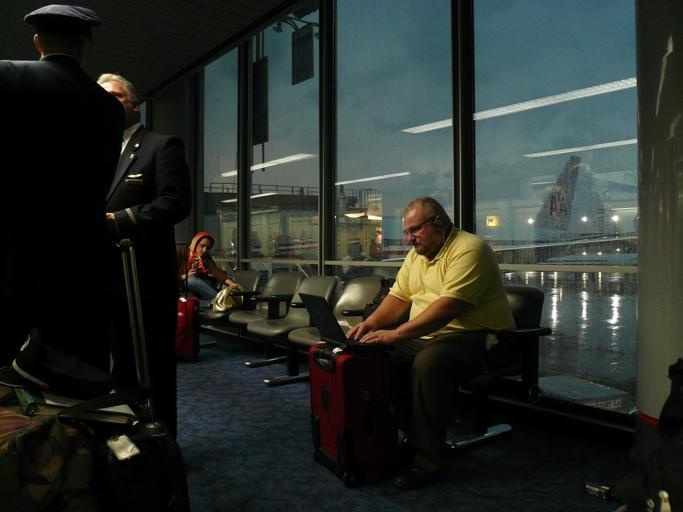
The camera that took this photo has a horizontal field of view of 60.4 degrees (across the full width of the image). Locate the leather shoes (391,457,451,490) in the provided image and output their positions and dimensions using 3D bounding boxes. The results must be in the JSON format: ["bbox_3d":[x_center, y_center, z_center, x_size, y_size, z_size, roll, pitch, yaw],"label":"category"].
[{"bbox_3d":[0.378,1.044,2.828,0.267,0.096,0.113,6,-11,-34],"label":"leather shoes"}]

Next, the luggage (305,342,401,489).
[{"bbox_3d":[0.068,0.774,3.022,0.364,0.633,0.469,-3,0,-29],"label":"luggage"}]

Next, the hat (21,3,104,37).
[{"bbox_3d":[-0.960,-0.813,2.011,0.165,0.064,0.179,15,15,31],"label":"hat"}]

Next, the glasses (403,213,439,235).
[{"bbox_3d":[0.450,-0.176,3.200,0.130,0.039,0.125,-35,6,-25],"label":"glasses"}]

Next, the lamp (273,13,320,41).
[{"bbox_3d":[-0.477,-2.227,5.665,0.686,0.276,0.232,24,31,39],"label":"lamp"}]

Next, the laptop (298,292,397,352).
[{"bbox_3d":[-0.029,0.326,2.968,0.307,0.219,0.269,-2,-2,-28],"label":"laptop"}]

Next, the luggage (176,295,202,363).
[{"bbox_3d":[-1.412,0.682,5.460,0.188,0.516,0.343,-4,-1,-41],"label":"luggage"}]

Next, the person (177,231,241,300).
[{"bbox_3d":[-1.382,0.140,6.010,0.793,0.777,0.497,-16,-13,42],"label":"person"}]
